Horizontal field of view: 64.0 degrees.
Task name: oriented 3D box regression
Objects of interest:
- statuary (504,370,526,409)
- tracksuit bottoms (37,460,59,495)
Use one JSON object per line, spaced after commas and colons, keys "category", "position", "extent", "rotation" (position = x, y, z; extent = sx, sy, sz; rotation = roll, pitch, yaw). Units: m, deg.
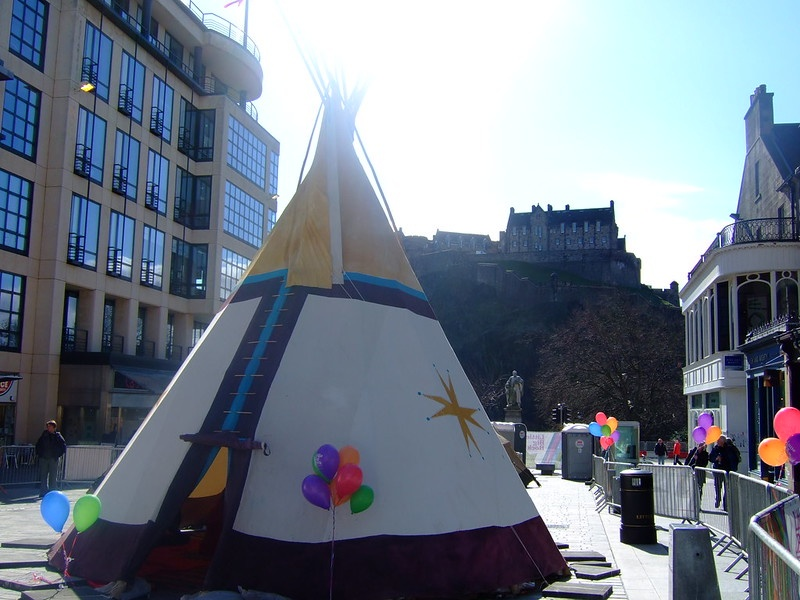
{"category": "statuary", "position": [7.285, 5.693, 40.283], "extent": [0.996, 2.570, 0.632], "rotation": [4, 23, 17]}
{"category": "tracksuit bottoms", "position": [-9.593, 4.867, 17.499], "extent": [0.265, 0.992, 0.219], "rotation": [19, 1, 15]}
